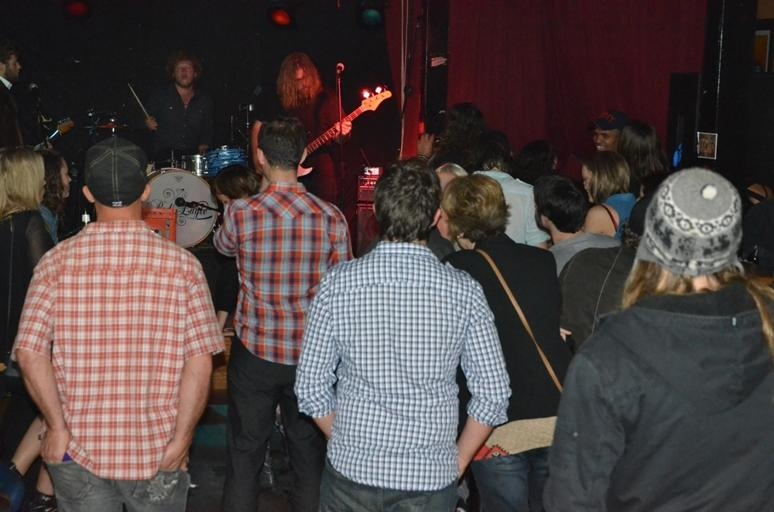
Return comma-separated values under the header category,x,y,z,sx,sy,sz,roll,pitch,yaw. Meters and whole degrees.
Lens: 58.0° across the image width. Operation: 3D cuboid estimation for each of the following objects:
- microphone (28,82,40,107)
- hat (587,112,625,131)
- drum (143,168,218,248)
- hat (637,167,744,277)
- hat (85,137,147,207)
category,x,y,z,sx,sy,sz,roll,pitch,yaw
microphone,-4.301,-1.976,8.539,0.066,0.253,0.186,-6,4,14
hat,1.870,-1.141,5.931,0.234,0.115,0.166,12,12,-15
drum,-1.902,-0.474,6.649,0.748,0.735,0.438,1,13,1
hat,1.059,-0.129,2.455,0.323,0.282,0.361,6,39,14
hat,-1.157,-0.358,2.988,0.256,0.301,0.190,-5,8,-22
